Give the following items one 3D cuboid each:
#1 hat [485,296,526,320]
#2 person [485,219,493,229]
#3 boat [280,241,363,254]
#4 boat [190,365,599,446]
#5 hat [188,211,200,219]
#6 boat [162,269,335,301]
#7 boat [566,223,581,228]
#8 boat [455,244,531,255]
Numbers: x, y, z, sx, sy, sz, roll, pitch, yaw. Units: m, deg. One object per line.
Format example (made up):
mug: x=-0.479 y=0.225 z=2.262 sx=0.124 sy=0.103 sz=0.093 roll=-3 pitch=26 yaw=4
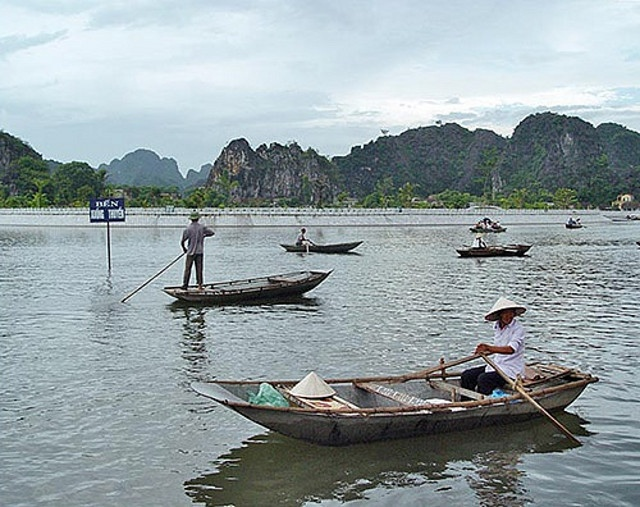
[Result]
hat: x=3.287 y=0.876 z=14.484 sx=0.578 sy=0.197 sz=0.505 roll=-4 pitch=-18 yaw=-22
person: x=14.379 y=-2.459 z=69.956 sx=0.717 sy=0.707 sz=1.412 roll=-3 pitch=0 yaw=2
boat: x=-0.507 y=-0.261 z=42.419 sx=5.915 sy=0.742 sz=1.208 roll=-1 pitch=2 yaw=8
boat: x=1.192 y=2.492 z=13.847 sx=6.844 sy=0.826 sz=2.131 roll=-1 pitch=1 yaw=-20
hat: x=-3.311 y=-0.950 z=21.920 sx=0.367 sy=0.129 sz=0.307 roll=-4 pitch=13 yaw=-11
boat: x=-2.099 y=0.957 z=25.079 sx=3.977 sy=0.445 sz=0.822 roll=-3 pitch=11 yaw=-25
boat: x=25.870 y=-2.778 z=84.043 sx=0.666 sy=0.323 sz=2.667 roll=-4 pitch=-2 yaw=36
boat: x=8.515 y=-0.092 z=40.094 sx=2.125 sy=0.553 sz=3.432 roll=-1 pitch=1 yaw=41
